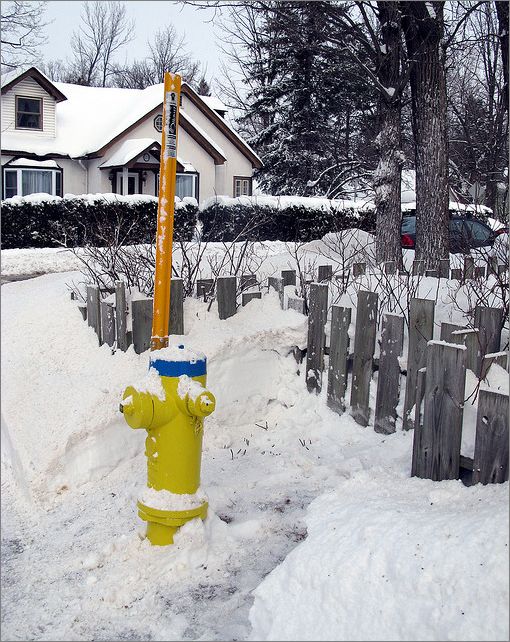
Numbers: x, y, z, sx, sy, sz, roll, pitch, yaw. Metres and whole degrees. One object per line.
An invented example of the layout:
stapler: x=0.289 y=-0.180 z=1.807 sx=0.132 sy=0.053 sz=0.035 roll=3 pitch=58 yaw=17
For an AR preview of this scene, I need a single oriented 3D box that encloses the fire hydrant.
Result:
fire hydrant: x=-0.419 y=0.541 z=3.053 sx=0.345 sy=0.999 sz=0.527 roll=-1 pitch=22 yaw=-16
